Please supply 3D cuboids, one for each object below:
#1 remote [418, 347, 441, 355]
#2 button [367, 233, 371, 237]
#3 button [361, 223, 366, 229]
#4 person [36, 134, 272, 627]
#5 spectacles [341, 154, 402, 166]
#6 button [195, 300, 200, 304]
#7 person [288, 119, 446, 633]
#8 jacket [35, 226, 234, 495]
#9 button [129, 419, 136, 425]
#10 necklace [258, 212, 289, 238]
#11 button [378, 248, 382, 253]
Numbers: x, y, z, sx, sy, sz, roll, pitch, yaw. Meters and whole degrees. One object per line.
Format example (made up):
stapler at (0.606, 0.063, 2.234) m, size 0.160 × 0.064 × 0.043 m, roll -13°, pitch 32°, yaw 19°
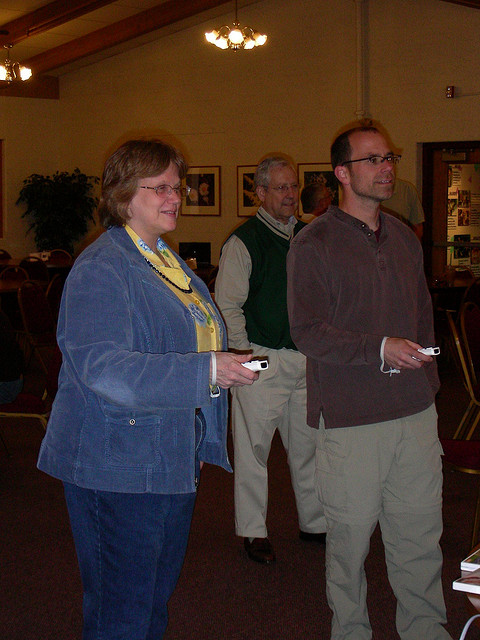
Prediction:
remote at (0.408, 0.067, 1.211) m, size 0.040 × 0.021 × 0.065 m, roll 2°, pitch 4°, yaw 24°
button at (0.335, -0.222, 1.452) m, size 0.008 × 0.009 × 0.003 m, roll -2°, pitch -9°, yaw 7°
button at (0.322, -0.245, 1.457) m, size 0.009 × 0.010 × 0.005 m, roll 1°, pitch -8°, yaw 6°
person at (-0.141, 0.174, 1.058) m, size 0.399 × 1.069 × 0.423 m, roll -3°, pitch 4°, yaw -38°
spectacles at (0.358, -0.441, 1.539) m, size 0.147 × 0.039 × 0.067 m, roll 0°, pitch 3°, yaw -5°
button at (-0.093, -0.040, 1.214) m, size 0.003 × 0.008 × 0.007 m, roll -18°, pitch -13°, yaw 42°
person at (0.357, 0.242, 1.534) m, size 0.411 × 1.584 × 0.606 m, roll 1°, pitch 4°, yaw 21°
jacket at (-0.153, 0.100, 1.139) m, size 0.391 × 0.503 × 0.536 m, roll 0°, pitch -2°, yaw 12°
button at (-0.185, 0.174, 0.960) m, size 0.007 × 0.010 × 0.003 m, roll -1°, pitch 7°, yaw -3°
necklace at (0.144, -0.404, 2.378) m, size 0.127 × 0.107 × 0.039 m, roll 1°, pitch 3°, yaw 8°
button at (0.363, -0.180, 1.447) m, size 0.010 × 0.010 × 0.002 m, roll -19°, pitch 34°, yaw -25°
